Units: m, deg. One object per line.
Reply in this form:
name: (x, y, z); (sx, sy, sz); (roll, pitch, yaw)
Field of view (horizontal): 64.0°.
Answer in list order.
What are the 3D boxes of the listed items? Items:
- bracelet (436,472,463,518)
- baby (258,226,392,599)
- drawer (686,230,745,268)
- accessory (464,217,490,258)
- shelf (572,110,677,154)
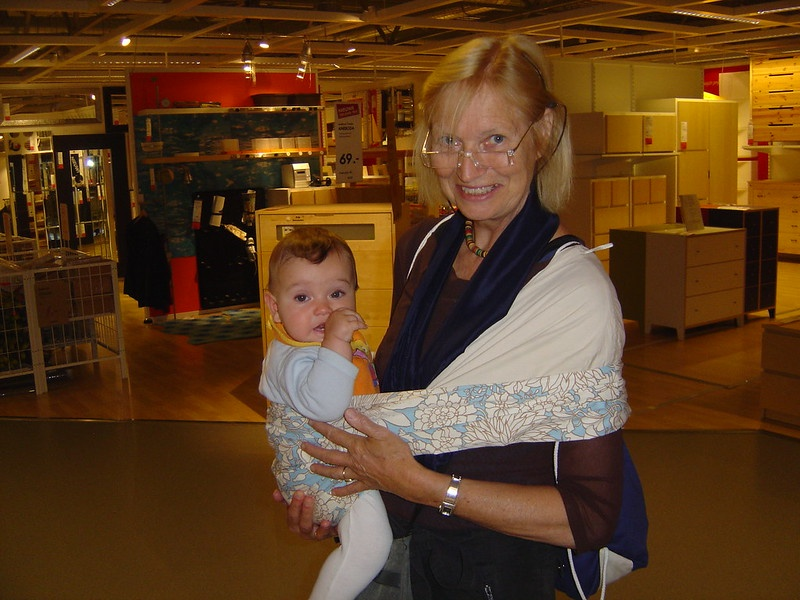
bracelet: (0.113, 0.474, 1.540); (0.047, 0.086, 0.083); (17, 40, 24)
baby: (-0.133, 0.299, 1.881); (0.411, 1.020, 0.423); (-7, 10, -29)
drawer: (3.733, -0.628, 7.582); (1.033, 0.385, 0.078); (-9, 14, -29)
accessory: (0.202, -0.170, 1.775); (0.075, 0.097, 0.024); (-20, -10, -43)
shelf: (3.537, -2.445, 10.610); (0.601, 0.610, 1.747); (2, -7, 10)
